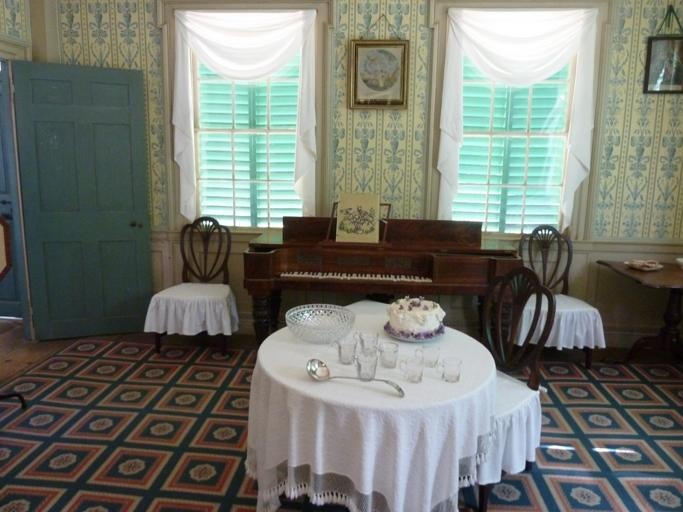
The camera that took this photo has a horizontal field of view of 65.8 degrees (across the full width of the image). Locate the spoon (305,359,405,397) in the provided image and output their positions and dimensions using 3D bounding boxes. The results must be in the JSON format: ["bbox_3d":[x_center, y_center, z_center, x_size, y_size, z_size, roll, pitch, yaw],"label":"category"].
[{"bbox_3d":[0.008,0.638,2.765,0.616,0.116,0.187,8,14,20],"label":"spoon"}]

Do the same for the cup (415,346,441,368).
[{"bbox_3d":[0.474,0.563,2.919,0.090,0.100,0.144,0,0,-15],"label":"cup"}]

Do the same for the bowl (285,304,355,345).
[{"bbox_3d":[-0.118,0.430,3.143,0.371,0.143,0.370,0,17,0],"label":"bowl"}]

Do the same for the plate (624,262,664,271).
[{"bbox_3d":[2.607,0.096,4.596,0.131,0.045,0.175,-3,4,-39],"label":"plate"}]

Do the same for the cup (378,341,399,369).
[{"bbox_3d":[0.255,0.555,2.953,0.084,0.098,0.134,0,-2,-2],"label":"cup"}]

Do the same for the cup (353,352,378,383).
[{"bbox_3d":[0.132,0.589,2.797,0.090,0.104,0.141,0,6,0],"label":"cup"}]

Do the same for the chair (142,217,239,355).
[{"bbox_3d":[-1.308,0.260,4.846,0.761,1.153,0.675,2,9,10],"label":"chair"}]

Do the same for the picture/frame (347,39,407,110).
[{"bbox_3d":[0.328,-1.674,4.771,0.576,0.621,0.043,1,10,0],"label":"picture/frame"}]

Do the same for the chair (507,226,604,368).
[{"bbox_3d":[1.904,0.368,4.721,0.684,1.149,0.691,0,8,9],"label":"chair"}]

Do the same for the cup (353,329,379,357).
[{"bbox_3d":[0.137,0.509,2.998,0.092,0.143,0.144,0,3,-4],"label":"cup"}]

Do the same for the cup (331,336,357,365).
[{"bbox_3d":[0.028,0.550,2.975,0.087,0.106,0.140,-1,1,-5],"label":"cup"}]

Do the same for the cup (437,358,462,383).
[{"bbox_3d":[0.576,0.615,2.821,0.083,0.094,0.130,-1,2,-4],"label":"cup"}]

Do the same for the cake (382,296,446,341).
[{"bbox_3d":[0.432,0.398,3.234,0.274,0.135,0.286,0,11,6],"label":"cake"}]

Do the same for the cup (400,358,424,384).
[{"bbox_3d":[0.369,0.619,2.812,0.086,0.105,0.137,-2,4,-17],"label":"cup"}]
